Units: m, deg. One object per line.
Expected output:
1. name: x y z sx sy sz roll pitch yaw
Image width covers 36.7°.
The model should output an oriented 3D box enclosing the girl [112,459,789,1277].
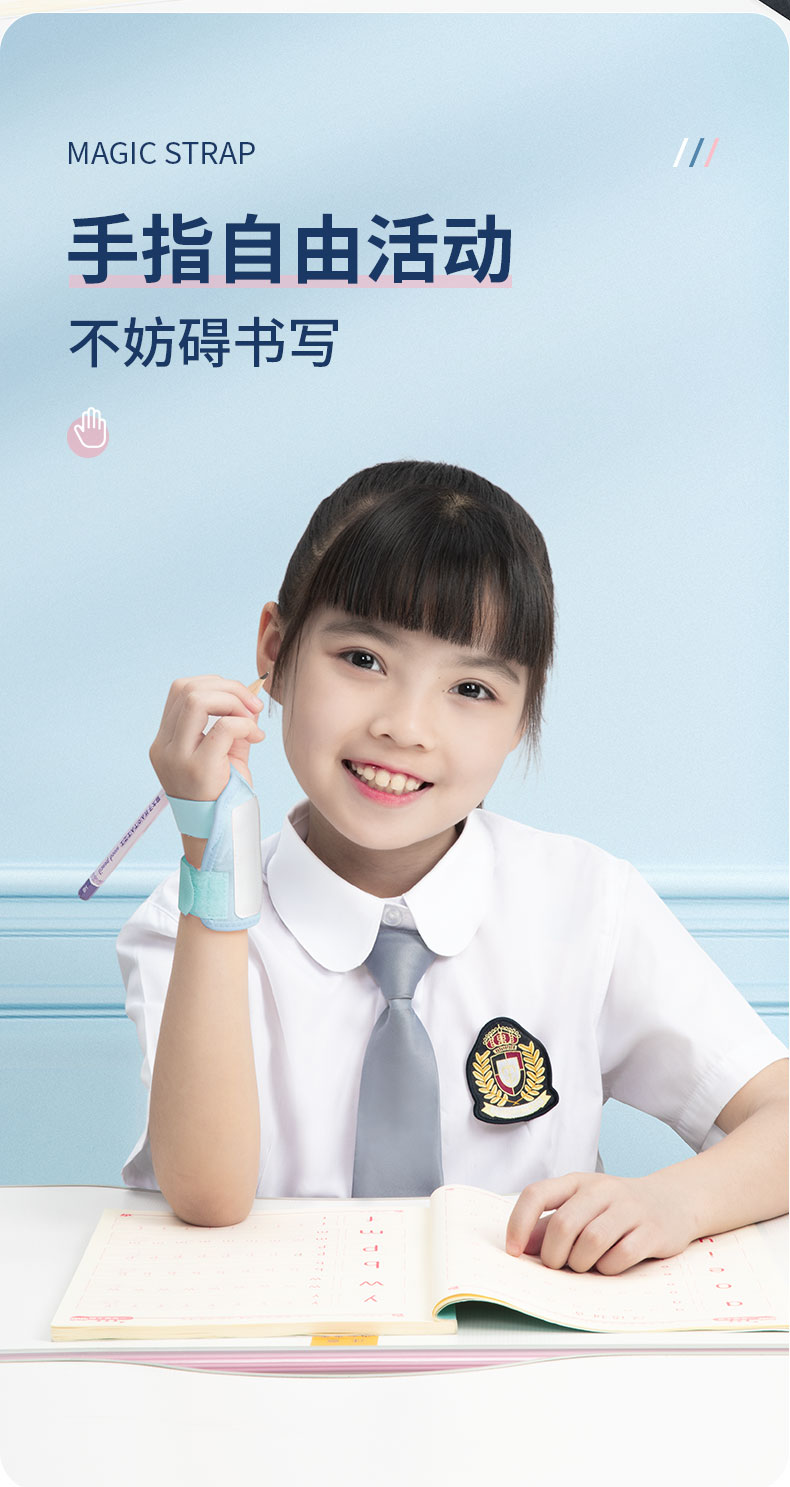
1. girl: 0.070 0.075 1.084 0.587 0.713 0.527 0 0 -31

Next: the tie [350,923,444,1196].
1. tie: 0.000 0.279 1.055 0.082 0.319 0.035 0 22 2

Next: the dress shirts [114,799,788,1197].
1. dress shirts: 0.050 0.264 1.175 0.587 0.491 0.363 -2 -7 1
